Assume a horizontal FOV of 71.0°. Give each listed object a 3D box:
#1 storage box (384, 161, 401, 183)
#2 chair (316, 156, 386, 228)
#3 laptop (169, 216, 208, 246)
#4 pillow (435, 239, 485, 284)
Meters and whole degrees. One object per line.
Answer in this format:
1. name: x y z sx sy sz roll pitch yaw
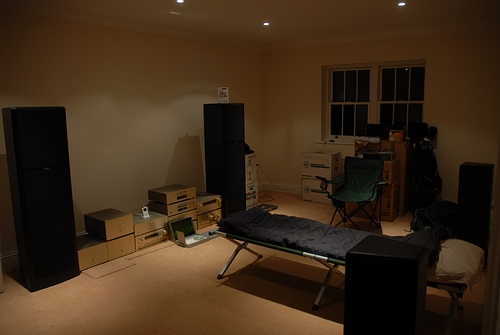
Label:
1. storage box: 2.478 0.026 6.154 0.322 0.435 0.459 1 4 27
2. chair: 1.748 0.476 5.698 1.089 1.208 0.801 5 11 34
3. laptop: -0.996 0.932 5.552 0.416 0.318 0.523 0 4 35
4. pillow: 2.080 0.942 3.493 0.460 0.191 0.636 3 15 34
